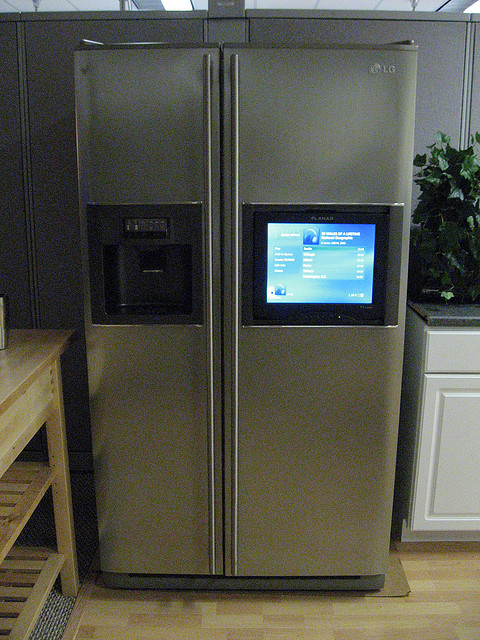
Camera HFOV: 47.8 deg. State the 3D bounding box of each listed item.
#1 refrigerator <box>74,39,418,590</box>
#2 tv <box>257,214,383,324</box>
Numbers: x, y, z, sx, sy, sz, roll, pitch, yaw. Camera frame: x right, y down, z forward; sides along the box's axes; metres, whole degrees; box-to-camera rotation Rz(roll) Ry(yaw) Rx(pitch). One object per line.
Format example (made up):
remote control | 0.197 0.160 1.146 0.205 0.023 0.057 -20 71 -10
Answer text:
refrigerator | 0.025 0.152 1.978 0.963 1.904 0.833 -1 12 0
tv | 0.224 -0.160 1.553 0.257 0.240 0.095 0 7 -1
